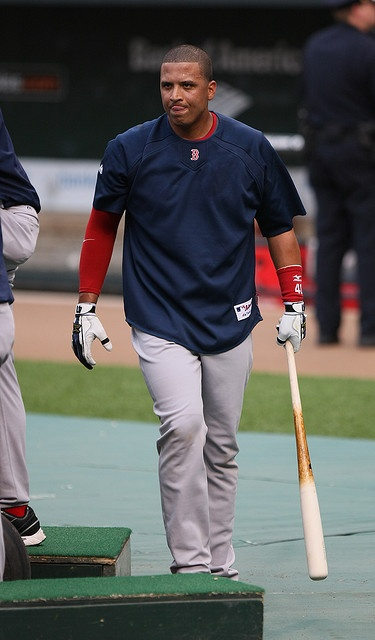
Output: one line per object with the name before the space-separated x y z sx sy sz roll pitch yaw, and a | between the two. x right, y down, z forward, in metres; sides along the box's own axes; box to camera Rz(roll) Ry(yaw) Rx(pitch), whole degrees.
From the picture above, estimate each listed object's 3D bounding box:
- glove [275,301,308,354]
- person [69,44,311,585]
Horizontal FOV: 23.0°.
glove | 0.341 0.023 3.028 0.096 0.163 0.060 -4 5 2
person | 0.063 0.013 2.859 0.654 1.683 0.631 -4 6 -40
